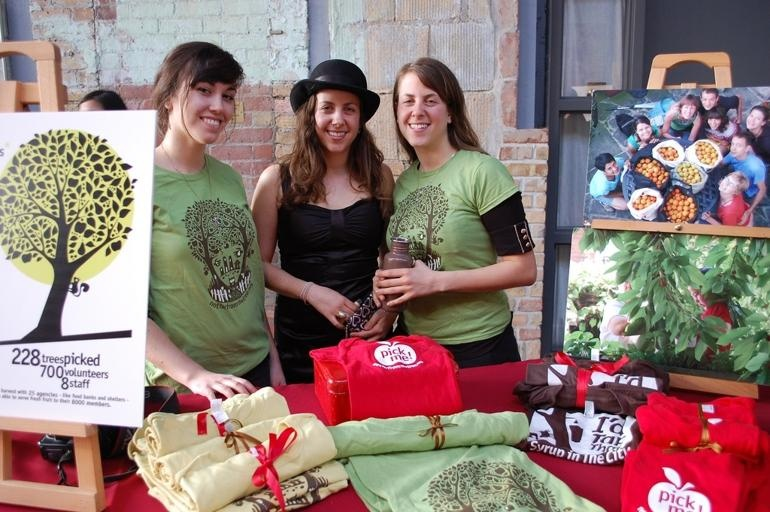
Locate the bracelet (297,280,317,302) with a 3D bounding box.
[{"bbox_3d":[-0.335,0.157,2.704,0.051,0.080,0.059,-8,10,-43],"label":"bracelet"}]

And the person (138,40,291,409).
[{"bbox_3d":[-0.665,-0.134,2.445,0.480,1.353,0.282,-2,8,-11],"label":"person"}]

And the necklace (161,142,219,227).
[{"bbox_3d":[-0.745,-0.260,2.362,0.252,0.258,0.138,10,-32,-40],"label":"necklace"}]

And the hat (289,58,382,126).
[{"bbox_3d":[-0.222,-0.757,2.878,0.367,0.177,0.450,6,-26,-12],"label":"hat"}]

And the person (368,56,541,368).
[{"bbox_3d":[0.283,-0.180,2.578,0.639,1.270,0.549,1,8,16],"label":"person"}]

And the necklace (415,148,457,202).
[{"bbox_3d":[0.216,-0.336,2.632,0.110,0.196,0.196,0,-11,-45],"label":"necklace"}]
